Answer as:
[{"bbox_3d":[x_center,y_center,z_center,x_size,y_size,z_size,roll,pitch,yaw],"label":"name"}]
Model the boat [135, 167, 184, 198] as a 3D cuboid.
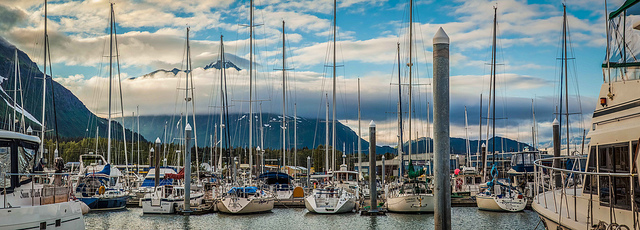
[{"bbox_3d":[-41.795,17.645,158.255,10.766,8.024,19.630,1,-1,5],"label":"boat"}]
